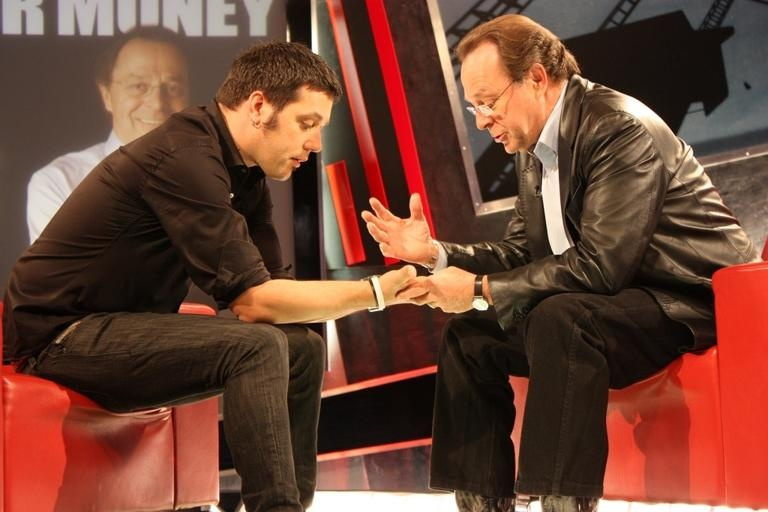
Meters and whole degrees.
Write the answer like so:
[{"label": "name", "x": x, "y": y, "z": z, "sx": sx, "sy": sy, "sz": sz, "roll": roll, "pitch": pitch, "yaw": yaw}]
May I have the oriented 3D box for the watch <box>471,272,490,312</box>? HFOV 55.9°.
[{"label": "watch", "x": 0.363, "y": 0.167, "z": 2.755, "sx": 0.051, "sy": 0.090, "sz": 0.088, "roll": -6, "pitch": 19, "yaw": 7}]
